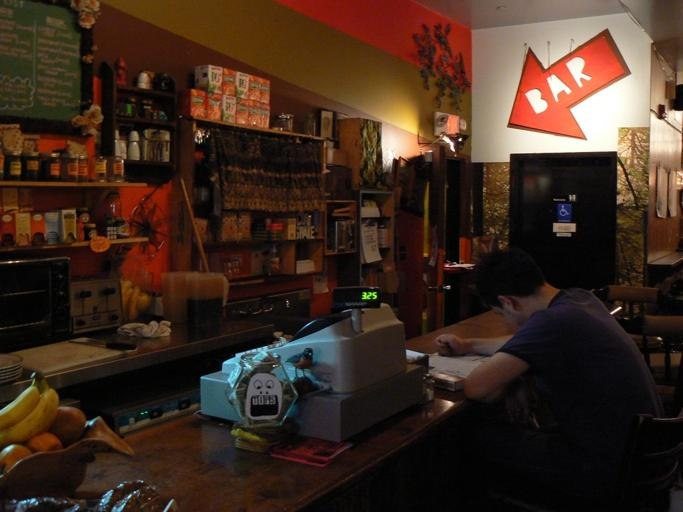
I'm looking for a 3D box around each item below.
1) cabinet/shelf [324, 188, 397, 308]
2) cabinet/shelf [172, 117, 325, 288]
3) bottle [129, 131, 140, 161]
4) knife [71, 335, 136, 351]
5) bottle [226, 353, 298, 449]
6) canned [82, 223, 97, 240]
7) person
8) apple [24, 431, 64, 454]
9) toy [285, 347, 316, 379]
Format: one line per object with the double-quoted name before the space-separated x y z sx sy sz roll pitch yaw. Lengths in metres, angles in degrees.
"cabinet/shelf" 0.215 -0.053 5.689 0.381 1.363 1.200 3 5 44
"cabinet/shelf" -0.713 -0.434 4.513 0.394 1.272 1.420 -6 -1 34
"bottle" -1.470 -0.779 3.719 0.104 0.215 0.089 -4 5 -39
"knife" -1.416 0.524 3.135 0.531 0.062 0.147 2 6 36
"bottle" -0.258 0.462 1.728 0.215 0.263 0.194 1 -3 -24
"canned" -1.670 -0.166 3.466 0.091 0.074 0.091 1 -3 -39
"person" 1.074 0.462 2.895 1.163 1.622 0.767 0 6 38
"apple" -0.755 0.478 1.327 0.077 0.049 0.068 -2 5 -15
"toy" -0.135 0.370 1.792 0.124 0.121 0.059 -5 -6 17
